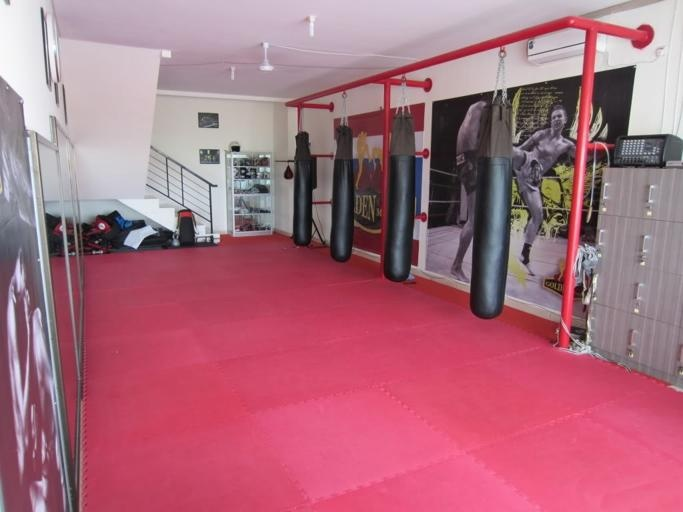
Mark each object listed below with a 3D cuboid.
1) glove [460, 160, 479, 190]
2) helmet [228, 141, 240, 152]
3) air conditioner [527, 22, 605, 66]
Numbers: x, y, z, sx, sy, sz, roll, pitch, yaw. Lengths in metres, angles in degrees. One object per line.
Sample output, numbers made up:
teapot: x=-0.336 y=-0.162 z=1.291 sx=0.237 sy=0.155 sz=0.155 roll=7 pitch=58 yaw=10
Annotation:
glove: x=1.638 y=-1.035 z=5.896 sx=0.106 sy=0.401 sz=0.356 roll=-2 pitch=11 yaw=-9
helmet: x=-2.393 y=-2.445 z=10.230 sx=0.194 sy=0.282 sz=0.271 roll=0 pitch=-1 yaw=13
air conditioner: x=2.271 y=-2.191 z=4.748 sx=0.591 sy=0.258 sz=0.180 roll=-1 pitch=1 yaw=35
